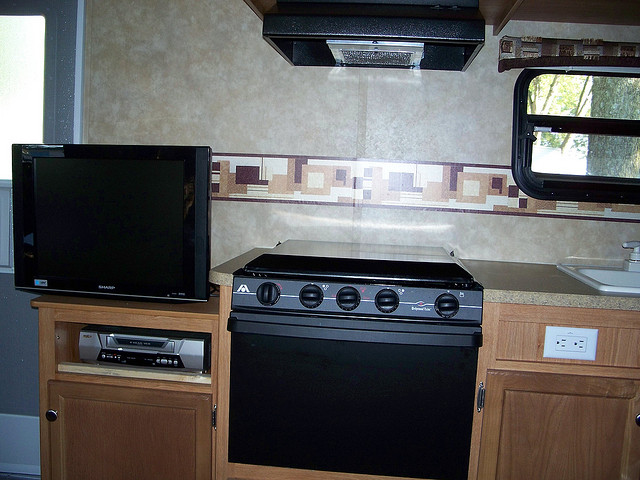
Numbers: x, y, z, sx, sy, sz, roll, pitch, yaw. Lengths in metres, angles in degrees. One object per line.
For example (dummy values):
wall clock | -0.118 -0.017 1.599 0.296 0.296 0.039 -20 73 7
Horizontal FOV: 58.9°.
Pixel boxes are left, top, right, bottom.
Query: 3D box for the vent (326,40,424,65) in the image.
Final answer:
vent | 0.258 -0.851 2.536 0.413 0.057 0.413 3 2 9

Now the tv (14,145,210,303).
tv | -0.868 -0.090 2.466 0.665 0.480 0.071 2 1 4
